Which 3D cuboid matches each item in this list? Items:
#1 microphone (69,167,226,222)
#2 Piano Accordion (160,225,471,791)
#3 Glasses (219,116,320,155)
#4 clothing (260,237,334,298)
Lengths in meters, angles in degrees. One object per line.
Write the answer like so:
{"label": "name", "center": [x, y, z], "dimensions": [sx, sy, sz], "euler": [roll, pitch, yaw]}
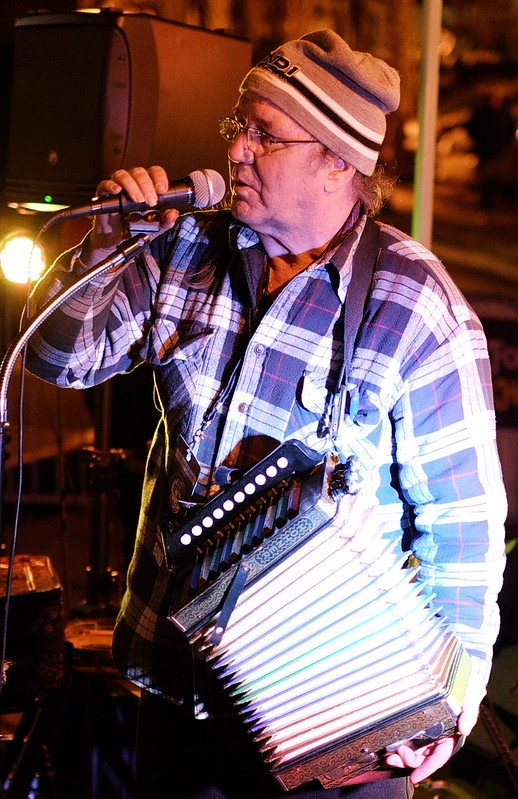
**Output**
{"label": "microphone", "center": [-0.186, -0.413, 1.820], "dimensions": [0.418, 0.104, 0.104], "euler": [-9, 10, -15]}
{"label": "Piano Accordion", "center": [0.166, 0.286, 1.444], "dimensions": [0.246, 0.736, 0.425], "euler": [1, 45, -51]}
{"label": "Glasses", "center": [0.005, -0.590, 1.957], "dimensions": [0.167, 0.048, 0.156], "euler": [-5, 26, -32]}
{"label": "clothing", "center": [0.074, -0.320, 2.050], "dimensions": [0.107, 0.085, 0.081], "euler": [-13, 1, -34]}
